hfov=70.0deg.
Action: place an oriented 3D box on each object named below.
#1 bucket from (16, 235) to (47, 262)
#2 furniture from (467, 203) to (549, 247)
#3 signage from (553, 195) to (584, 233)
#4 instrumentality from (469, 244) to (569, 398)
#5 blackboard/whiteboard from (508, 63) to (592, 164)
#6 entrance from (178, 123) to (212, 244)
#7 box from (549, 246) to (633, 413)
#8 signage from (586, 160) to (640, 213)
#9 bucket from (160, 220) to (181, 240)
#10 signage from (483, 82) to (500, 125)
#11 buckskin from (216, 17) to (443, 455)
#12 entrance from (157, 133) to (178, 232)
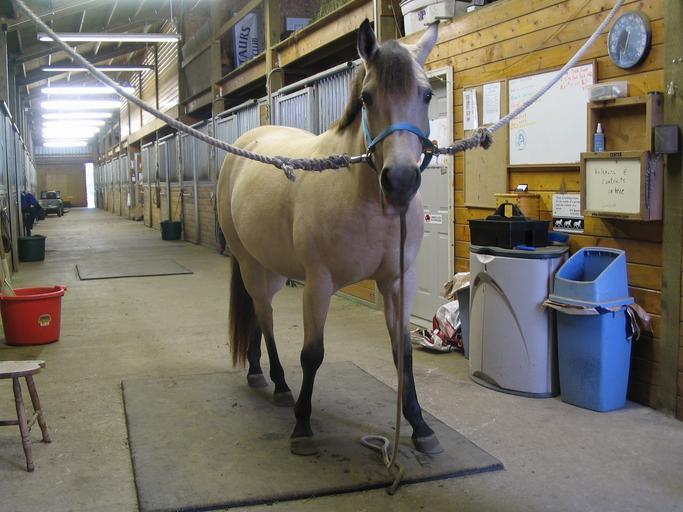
[{"bbox_3d":[-6.350,-0.122,10.181,0.424,0.722,0.625,6,3,39],"label":"bucket"},{"bbox_3d":[1.315,-0.249,3.839,0.393,0.341,0.526,-2,5,-17],"label":"furniture"},{"bbox_3d":[1.769,-0.327,3.788,0.034,0.348,0.276,1,-1,-25],"label":"signage"},{"bbox_3d":[1.355,0.432,3.907,0.616,1.112,0.824,-6,8,-23],"label":"instrumentality"},{"bbox_3d":[1.632,-1.097,3.757,0.030,0.839,0.810,-3,6,-20],"label":"blackboard/whiteboard"},{"bbox_3d":[-3.594,-1.793,12.116,0.421,3.704,2.750,-3,8,-25],"label":"entrance"},{"bbox_3d":[1.793,0.508,3.520,0.568,1.094,0.603,-1,1,14],"label":"box"},{"bbox_3d":[1.880,-0.478,3.352,0.026,0.373,0.336,-2,4,-31],"label":"signage"},{"bbox_3d":[-4.924,-0.737,14.135,0.526,0.494,0.534,-1,5,0],"label":"bucket"},{"bbox_3d":[1.326,-1.351,4.336,0.019,0.367,0.186,16,21,40],"label":"signage"},{"bbox_3d":[-0.211,0.008,3.245,0.719,2.117,2.654,-4,5,-31],"label":"buckskin"},{"bbox_3d":[-5.406,-2.415,15.553,0.199,2.815,2.151,-4,7,-39],"label":"entrance"}]
